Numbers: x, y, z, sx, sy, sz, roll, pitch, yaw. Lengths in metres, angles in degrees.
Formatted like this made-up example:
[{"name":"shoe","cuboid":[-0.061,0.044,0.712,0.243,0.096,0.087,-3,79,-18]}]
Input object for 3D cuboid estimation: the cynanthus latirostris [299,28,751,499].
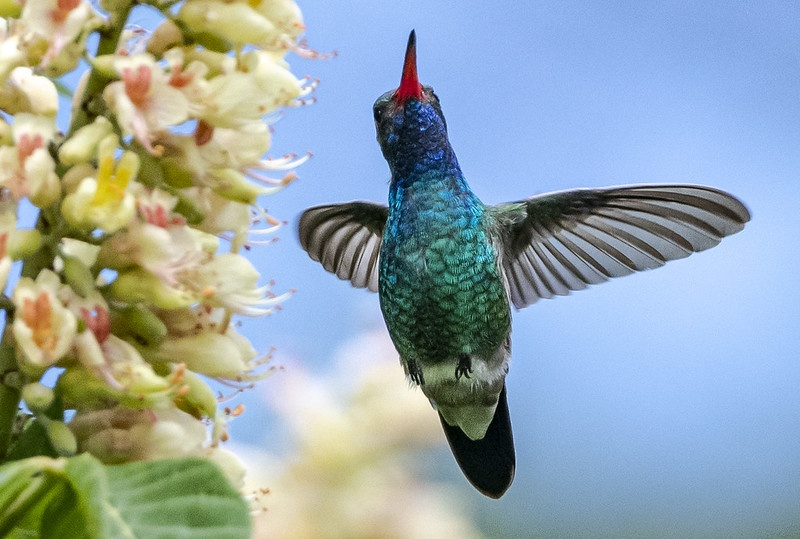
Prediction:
[{"name":"cynanthus latirostris","cuboid":[0.464,-0.117,2.907,1.129,0.537,0.985,-9,-55,30]}]
